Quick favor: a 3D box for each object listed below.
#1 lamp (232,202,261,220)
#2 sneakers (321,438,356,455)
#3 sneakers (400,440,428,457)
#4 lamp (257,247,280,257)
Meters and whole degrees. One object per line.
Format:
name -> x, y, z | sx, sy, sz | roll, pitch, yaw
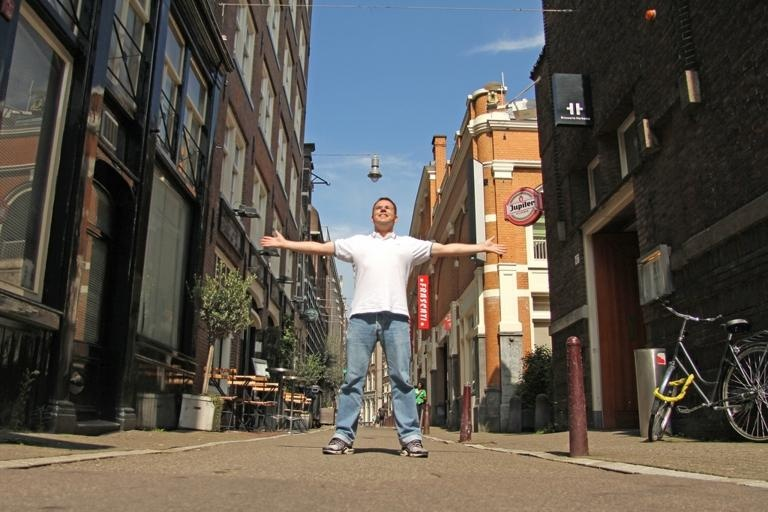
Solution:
lamp -> -3.602, -1.261, 15.678 | 0.658, 0.304, 0.544 | 2, -7, -4
sneakers -> -0.481, 2.061, 6.470 | 0.387, 0.195, 0.143 | 18, -27, -30
sneakers -> 0.320, 2.056, 6.395 | 0.135, 0.175, 0.357 | 11, -20, -22
lamp -> -3.765, -0.115, 19.764 | 0.673, 0.169, 0.603 | 6, -9, -33
